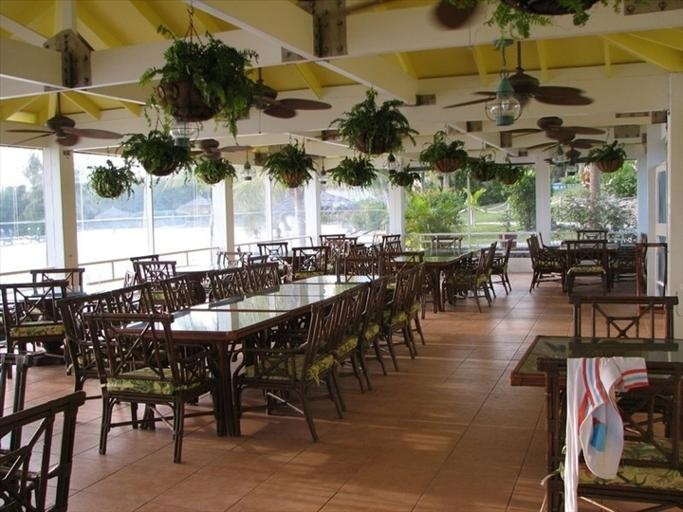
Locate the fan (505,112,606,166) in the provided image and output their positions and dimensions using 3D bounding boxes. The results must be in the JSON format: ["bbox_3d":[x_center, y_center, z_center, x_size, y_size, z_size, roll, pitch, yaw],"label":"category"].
[{"bbox_3d":[3.558,-1.957,8.971,1.519,0.593,1.435,-4,6,-26],"label":"fan"}]

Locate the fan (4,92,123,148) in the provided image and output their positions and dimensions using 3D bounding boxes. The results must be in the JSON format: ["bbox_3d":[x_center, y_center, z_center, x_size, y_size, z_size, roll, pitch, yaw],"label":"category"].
[{"bbox_3d":[-3.277,-1.628,6.359,1.157,0.442,1.096,-7,23,-32],"label":"fan"}]
